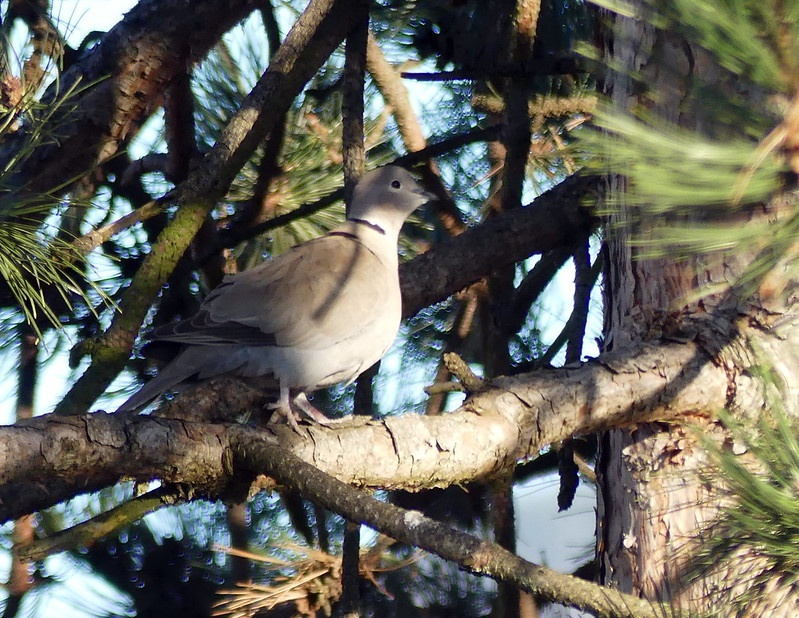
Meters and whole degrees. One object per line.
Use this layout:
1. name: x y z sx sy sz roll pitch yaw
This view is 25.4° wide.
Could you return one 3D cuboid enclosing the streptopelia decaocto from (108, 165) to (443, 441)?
1. streptopelia decaocto: -0.563 -0.059 7.491 1.497 1.173 0.570 0 0 -13
